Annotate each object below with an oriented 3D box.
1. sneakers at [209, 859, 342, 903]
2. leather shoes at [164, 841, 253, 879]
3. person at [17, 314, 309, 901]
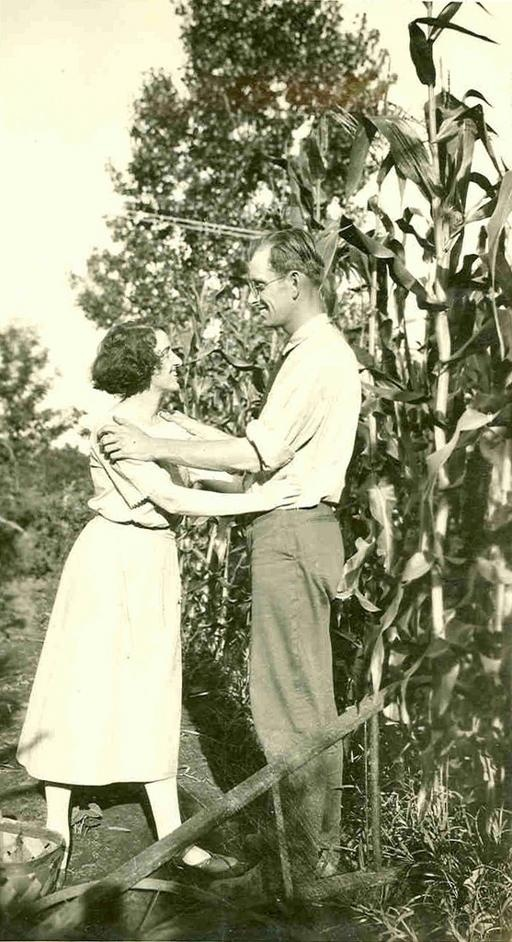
[{"bbox_3d":[0.073,1.304,3.265,0.298,0.067,0.179,-3,-6,17],"label":"sneakers"},{"bbox_3d":[-0.150,1.268,3.375,0.278,0.106,0.091,-1,15,0],"label":"leather shoes"},{"bbox_3d":[-0.390,0.588,3.330,0.712,1.371,0.382,1,8,-13],"label":"person"}]
